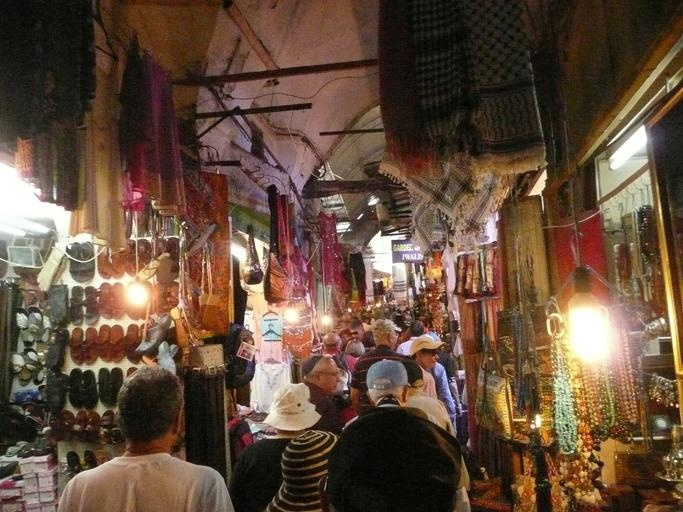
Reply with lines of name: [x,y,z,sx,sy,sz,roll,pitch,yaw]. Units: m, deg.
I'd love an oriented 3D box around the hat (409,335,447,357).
hat: [0.791,0.840,5.414,0.266,0.188,0.377,-4,-16,5]

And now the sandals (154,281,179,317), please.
sandals: [-1.444,0.340,4.660,0.232,0.234,0.173,-9,-8,22]

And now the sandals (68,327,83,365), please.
sandals: [-2.263,0.768,4.806,0.139,0.296,0.031,-2,-7,9]

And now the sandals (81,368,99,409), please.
sandals: [-2.112,1.111,4.753,0.128,0.309,0.098,-3,6,0]

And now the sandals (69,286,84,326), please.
sandals: [-2.284,0.425,4.859,0.114,0.333,0.085,-2,4,-5]

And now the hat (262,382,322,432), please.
hat: [-0.356,1.030,3.970,0.405,0.259,0.497,2,-3,27]

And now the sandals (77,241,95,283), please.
sandals: [-2.223,0.047,4.926,0.124,0.333,0.118,-3,1,-12]

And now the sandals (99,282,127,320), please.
sandals: [-1.953,0.385,4.763,0.223,0.302,0.079,-3,-7,1]

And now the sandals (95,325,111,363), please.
sandals: [-2.012,0.730,4.777,0.132,0.294,0.050,-7,-16,18]

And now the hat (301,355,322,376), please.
hat: [-0.284,0.987,5.138,0.081,0.203,0.158,30,-21,-13]

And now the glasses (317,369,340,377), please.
glasses: [-0.108,1.055,5.089,0.191,0.055,0.072,12,-21,-42]

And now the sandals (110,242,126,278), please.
sandals: [-1.911,0.070,4.831,0.124,0.196,0.199,4,-17,-22]

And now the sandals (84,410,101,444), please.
sandals: [-2.092,1.392,4.767,0.136,0.129,0.326,11,1,-20]

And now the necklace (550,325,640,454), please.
necklace: [1.445,0.714,3.275,0.458,0.716,0.215,-4,-5,4]

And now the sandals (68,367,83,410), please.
sandals: [-2.247,1.109,4.765,0.146,0.294,0.098,-3,3,7]

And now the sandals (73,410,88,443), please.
sandals: [-2.176,1.420,4.701,0.133,0.228,0.053,2,-6,-1]

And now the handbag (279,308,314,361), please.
handbag: [-0.661,1.154,8.347,0.474,0.849,0.144,-2,13,-10]

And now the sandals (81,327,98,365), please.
sandals: [-2.132,0.765,4.749,0.133,0.283,0.036,0,-6,1]

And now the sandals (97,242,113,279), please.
sandals: [-2.013,0.052,4.875,0.186,0.055,0.371,-9,-45,-30]

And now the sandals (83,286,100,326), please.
sandals: [-2.147,0.403,4.831,0.088,0.343,0.123,-11,-10,34]

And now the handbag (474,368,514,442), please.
handbag: [1.087,1.061,4.149,0.124,0.476,0.466,3,-2,-16]

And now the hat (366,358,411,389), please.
hat: [0.304,0.797,3.787,0.258,0.199,0.159,-2,-15,-2]

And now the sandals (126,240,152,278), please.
sandals: [-1.735,0.031,4.753,0.244,0.283,0.067,4,4,-4]

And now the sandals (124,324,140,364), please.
sandals: [-1.758,0.699,4.716,0.116,0.302,0.074,13,31,-11]

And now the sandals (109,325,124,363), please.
sandals: [-1.895,0.746,4.720,0.142,0.269,0.030,0,-3,4]

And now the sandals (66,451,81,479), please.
sandals: [-2.239,1.721,4.739,0.141,0.247,0.058,2,-8,4]
